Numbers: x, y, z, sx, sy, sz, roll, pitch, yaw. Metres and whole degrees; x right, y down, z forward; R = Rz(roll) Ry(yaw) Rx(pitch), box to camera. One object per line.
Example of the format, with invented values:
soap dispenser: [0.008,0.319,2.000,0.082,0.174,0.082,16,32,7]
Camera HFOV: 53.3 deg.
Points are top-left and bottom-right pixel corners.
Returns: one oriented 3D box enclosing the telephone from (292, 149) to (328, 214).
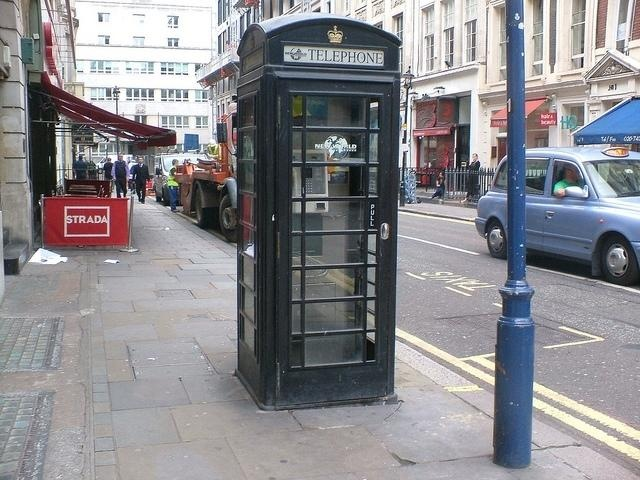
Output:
telephone: [-0.075,-0.468,5.489,0.235,0.608,0.210,-5,7,-17]
